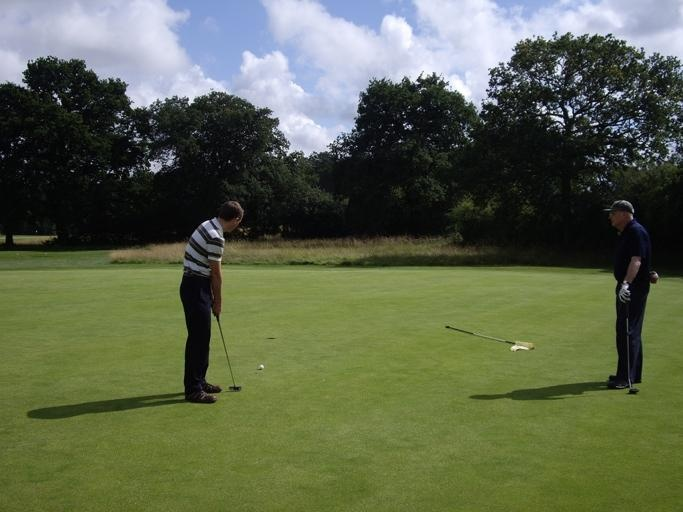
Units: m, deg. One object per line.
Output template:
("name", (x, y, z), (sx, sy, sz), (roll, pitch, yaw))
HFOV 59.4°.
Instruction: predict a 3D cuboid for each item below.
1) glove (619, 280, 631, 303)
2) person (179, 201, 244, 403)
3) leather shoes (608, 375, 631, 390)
("glove", (3.751, 0.475, 7.965), (0.185, 0.291, 0.120), (6, -4, -29))
("person", (-1.676, 0.555, 7.641), (0.752, 2.448, 0.653), (-3, 6, -18))
("leather shoes", (3.689, 1.678, 7.963), (0.318, 0.146, 0.125), (-1, -2, -27))
